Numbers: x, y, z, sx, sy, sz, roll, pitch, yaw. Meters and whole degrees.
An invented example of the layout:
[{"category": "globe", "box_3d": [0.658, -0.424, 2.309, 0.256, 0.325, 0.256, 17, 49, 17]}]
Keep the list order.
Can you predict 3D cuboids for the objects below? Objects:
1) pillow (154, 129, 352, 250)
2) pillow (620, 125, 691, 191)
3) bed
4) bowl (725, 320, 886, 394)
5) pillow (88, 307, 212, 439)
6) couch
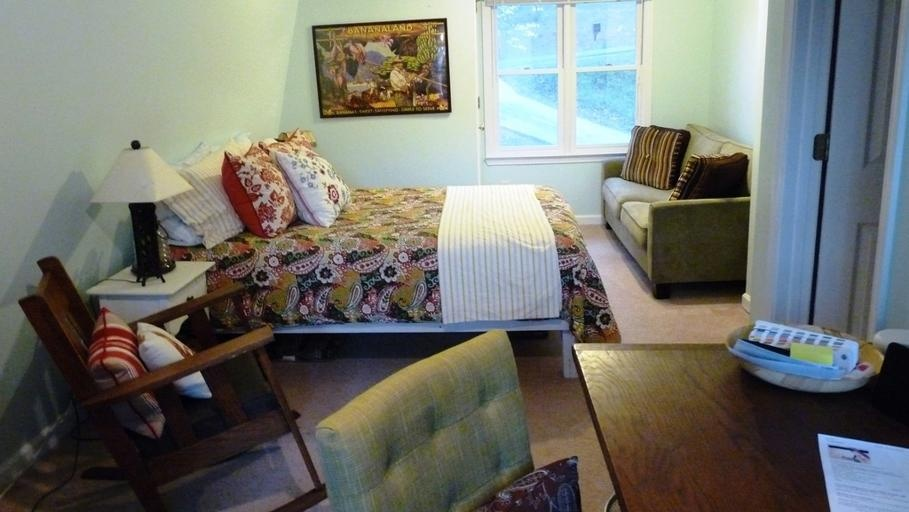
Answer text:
[{"category": "pillow", "box_3d": [-1.362, -0.423, 4.348, 0.819, 0.423, 1.289, 15, 19, 5]}, {"category": "pillow", "box_3d": [1.924, -0.949, 6.208, 0.680, 0.616, 0.230, 24, 13, 40]}, {"category": "bed", "box_3d": [-0.378, -0.127, 4.787, 2.769, 0.990, 1.931, 3, 12, -3]}, {"category": "bowl", "box_3d": [1.403, 0.421, 2.534, 0.364, 0.066, 0.331, -3, 12, 1]}, {"category": "pillow", "box_3d": [-1.526, 0.577, 3.245, 0.550, 0.534, 0.427, -4, 18, -7]}, {"category": "couch", "box_3d": [1.961, -0.528, 5.789, 1.021, 1.147, 2.037, -1, 19, 4]}]
